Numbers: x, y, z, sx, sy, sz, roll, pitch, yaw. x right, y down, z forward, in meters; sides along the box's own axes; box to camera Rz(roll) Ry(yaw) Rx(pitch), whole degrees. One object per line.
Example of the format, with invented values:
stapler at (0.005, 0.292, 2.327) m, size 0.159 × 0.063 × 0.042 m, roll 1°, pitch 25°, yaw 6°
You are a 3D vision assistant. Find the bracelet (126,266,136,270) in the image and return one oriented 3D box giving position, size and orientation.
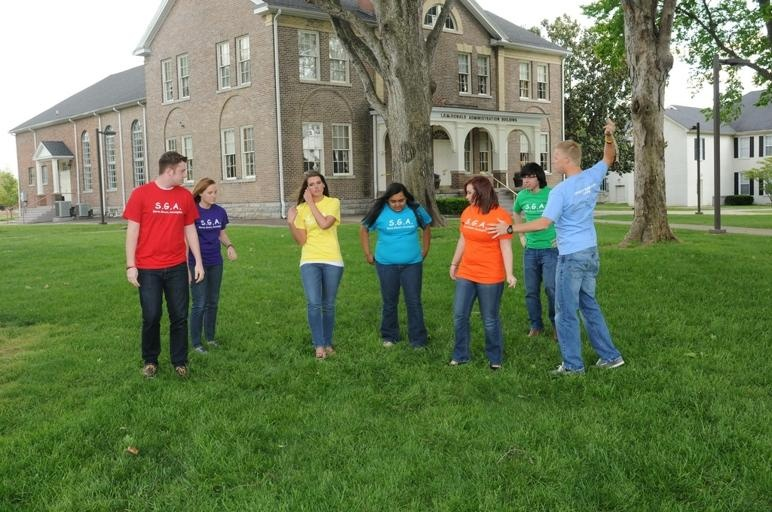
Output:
bracelet at (-3.346, 0.145, 8.391) m, size 0.114 × 0.044 × 0.112 m, roll -2°, pitch 15°, yaw -2°

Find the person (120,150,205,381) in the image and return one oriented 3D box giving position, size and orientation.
person at (-2.965, 0.101, 8.644) m, size 1.027 × 2.931 × 0.732 m, roll -11°, pitch 17°, yaw -34°

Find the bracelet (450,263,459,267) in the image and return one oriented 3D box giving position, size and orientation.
bracelet at (0.959, 0.125, 9.084) m, size 0.060 × 0.071 × 0.082 m, roll -3°, pitch -11°, yaw 25°

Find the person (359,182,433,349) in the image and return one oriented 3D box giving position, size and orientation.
person at (0.168, 0.112, 9.689) m, size 0.986 × 2.400 × 0.851 m, roll -1°, pitch 14°, yaw 3°

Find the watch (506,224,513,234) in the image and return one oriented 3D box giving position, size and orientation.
watch at (1.624, -0.366, 8.491) m, size 0.074 × 0.110 × 0.100 m, roll 0°, pitch 46°, yaw 9°

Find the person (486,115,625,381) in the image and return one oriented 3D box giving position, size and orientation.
person at (2.477, -0.079, 8.396) m, size 1.414 × 3.181 × 0.859 m, roll -3°, pitch 14°, yaw -5°
